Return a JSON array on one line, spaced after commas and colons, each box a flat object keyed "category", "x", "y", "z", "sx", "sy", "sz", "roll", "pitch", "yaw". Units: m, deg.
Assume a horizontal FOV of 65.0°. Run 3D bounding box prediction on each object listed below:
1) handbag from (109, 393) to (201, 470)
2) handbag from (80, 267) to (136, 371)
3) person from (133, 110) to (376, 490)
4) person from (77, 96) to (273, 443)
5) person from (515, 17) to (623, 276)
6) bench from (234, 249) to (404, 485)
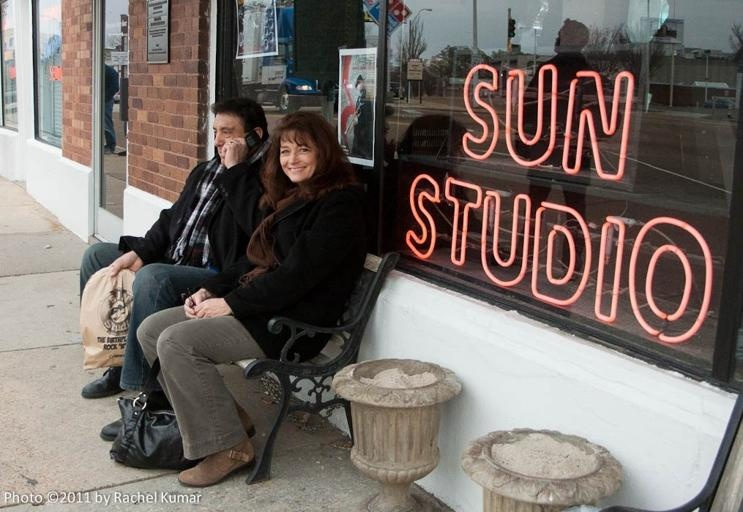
[{"category": "handbag", "x": -1.203, "y": 1.000, "z": 3.278, "sx": 0.423, "sy": 0.417, "sz": 0.238, "roll": 4, "pitch": 11, "yaw": 11}, {"category": "handbag", "x": -1.747, "y": 0.437, "z": 3.885, "sx": 0.347, "sy": 0.661, "sz": 0.309, "roll": -5, "pitch": 16, "yaw": -23}, {"category": "person", "x": -0.666, "y": 0.184, "z": 3.453, "sx": 1.236, "sy": 1.995, "sz": 0.678, "roll": -10, "pitch": 19, "yaw": -37}, {"category": "person", "x": -1.419, "y": 0.076, "z": 4.151, "sx": 1.308, "sy": 2.343, "sz": 1.081, "roll": 3, "pitch": 10, "yaw": -32}, {"category": "person", "x": 0.917, "y": -0.545, "z": 2.816, "sx": 0.169, "sy": 1.146, "sz": 0.448, "roll": -5, "pitch": 16, "yaw": -26}, {"category": "bench", "x": -0.445, "y": 0.687, "z": 3.663, "sx": 0.937, "sy": 1.270, "sz": 0.877, "roll": 4, "pitch": -10, "yaw": -23}]
